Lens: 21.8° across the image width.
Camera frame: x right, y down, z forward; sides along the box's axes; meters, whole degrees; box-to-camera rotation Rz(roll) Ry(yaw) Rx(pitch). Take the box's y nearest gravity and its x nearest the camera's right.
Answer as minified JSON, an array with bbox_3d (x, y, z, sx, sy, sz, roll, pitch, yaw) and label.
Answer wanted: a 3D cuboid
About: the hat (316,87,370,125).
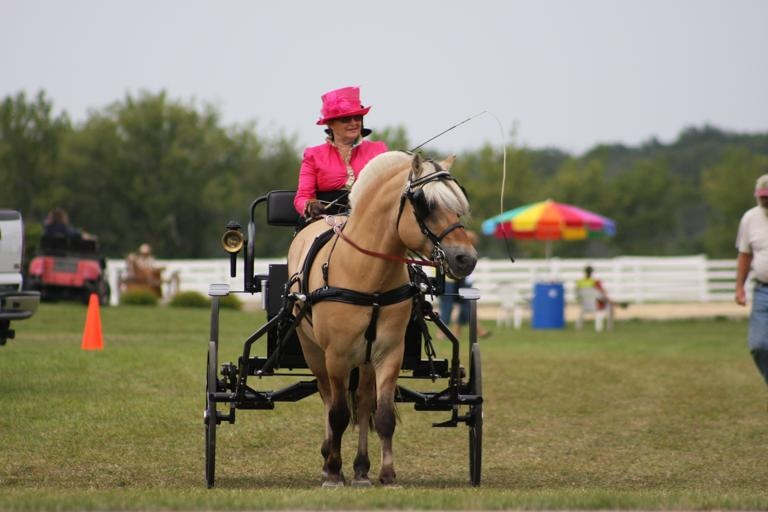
[{"bbox_3d":[-0.706,-2.434,32.031,0.970,0.434,1.099,-10,3,23],"label":"hat"}]

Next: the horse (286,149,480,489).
[{"bbox_3d":[-0.396,1.225,31.929,2.017,5.051,6.334,1,-12,-15],"label":"horse"}]

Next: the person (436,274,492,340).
[{"bbox_3d":[1.413,1.031,41.249,1.510,1.615,0.831,-2,3,-3],"label":"person"}]

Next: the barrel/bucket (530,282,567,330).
[{"bbox_3d":[3.570,1.112,44.574,0.912,1.038,0.931,-1,7,0],"label":"barrel/bucket"}]

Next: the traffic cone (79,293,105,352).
[{"bbox_3d":[-5.539,1.253,37.719,0.419,1.048,1.317,-1,0,-8],"label":"traffic cone"}]

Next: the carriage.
[{"bbox_3d":[-0.444,1.168,31.370,2.126,4.576,7.044,0,2,-2],"label":"carriage"}]

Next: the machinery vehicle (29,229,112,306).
[{"bbox_3d":[-6.654,0.249,41.610,1.629,1.360,2.676,3,7,-14],"label":"machinery vehicle"}]
